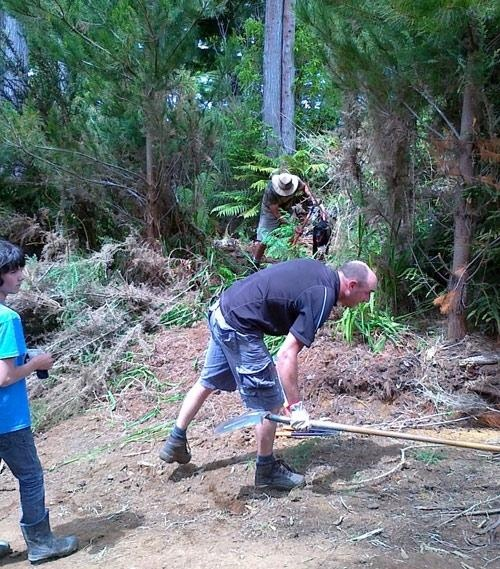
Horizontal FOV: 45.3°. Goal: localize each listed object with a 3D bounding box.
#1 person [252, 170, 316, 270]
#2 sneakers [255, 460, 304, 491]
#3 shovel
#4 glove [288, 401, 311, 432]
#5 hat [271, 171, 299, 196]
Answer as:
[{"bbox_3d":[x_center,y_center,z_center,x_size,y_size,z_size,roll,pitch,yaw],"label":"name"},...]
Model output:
[{"bbox_3d":[0.459,-0.818,7.841,0.953,1.333,0.777,-16,34,-13],"label":"person"},{"bbox_3d":[0.171,1.193,3.786,0.419,0.193,0.135,1,3,-3],"label":"sneakers"},{"bbox_3d":[0.792,1.013,4.119,2.332,0.100,0.300,5,-12,8],"label":"shovel"},{"bbox_3d":[0.285,0.765,3.504,0.058,0.157,0.131,-18,-6,-4],"label":"glove"},{"bbox_3d":[0.448,-1.240,7.469,0.313,0.285,0.131,-4,6,3],"label":"hat"}]
